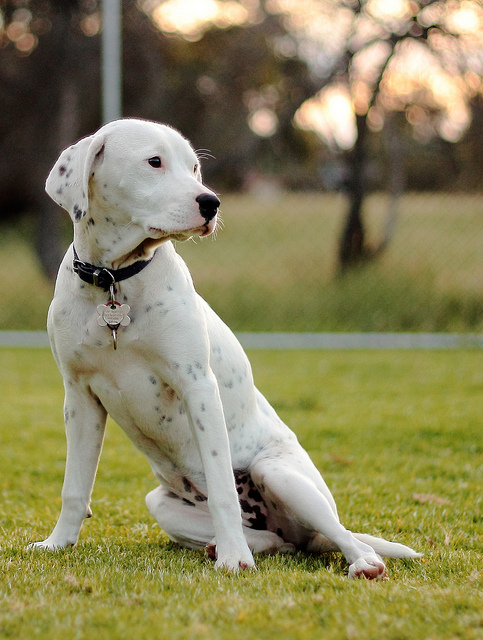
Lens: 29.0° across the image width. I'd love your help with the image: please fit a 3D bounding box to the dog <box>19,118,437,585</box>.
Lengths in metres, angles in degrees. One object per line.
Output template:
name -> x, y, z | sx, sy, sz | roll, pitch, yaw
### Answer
dog -> -0.287, 0.107, 4.151 | 1.364, 1.968, 0.813 | 0, 3, -11
